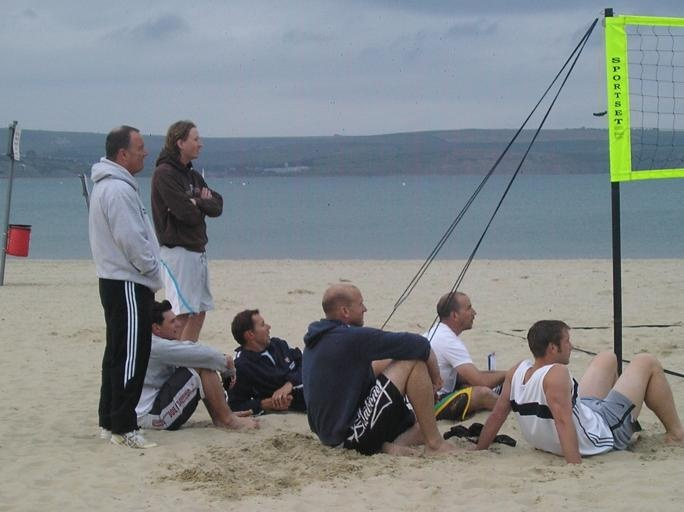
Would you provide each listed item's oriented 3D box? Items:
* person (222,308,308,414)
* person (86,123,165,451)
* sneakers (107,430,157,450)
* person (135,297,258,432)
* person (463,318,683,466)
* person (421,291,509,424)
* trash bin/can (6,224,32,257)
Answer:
[{"bbox_3d":[-0.842,1.015,11.795,0.927,1.140,0.938,-2,14,6],"label":"person"},{"bbox_3d":[-1.932,0.287,10.558,0.604,2.804,0.838,-4,14,-12],"label":"person"},{"bbox_3d":[-1.890,1.681,10.619,0.454,0.184,0.161,2,1,5],"label":"sneakers"},{"bbox_3d":[-1.470,1.149,10.909,1.326,1.459,0.869,-1,4,-18],"label":"person"},{"bbox_3d":[2.064,1.210,10.403,1.599,1.058,1.191,-12,11,-34],"label":"person"},{"bbox_3d":[1.277,0.991,11.361,0.835,1.238,0.989,-11,13,-33],"label":"person"},{"bbox_3d":[-4.890,-0.227,17.670,0.372,0.520,0.416,-5,14,-17],"label":"trash bin/can"}]
